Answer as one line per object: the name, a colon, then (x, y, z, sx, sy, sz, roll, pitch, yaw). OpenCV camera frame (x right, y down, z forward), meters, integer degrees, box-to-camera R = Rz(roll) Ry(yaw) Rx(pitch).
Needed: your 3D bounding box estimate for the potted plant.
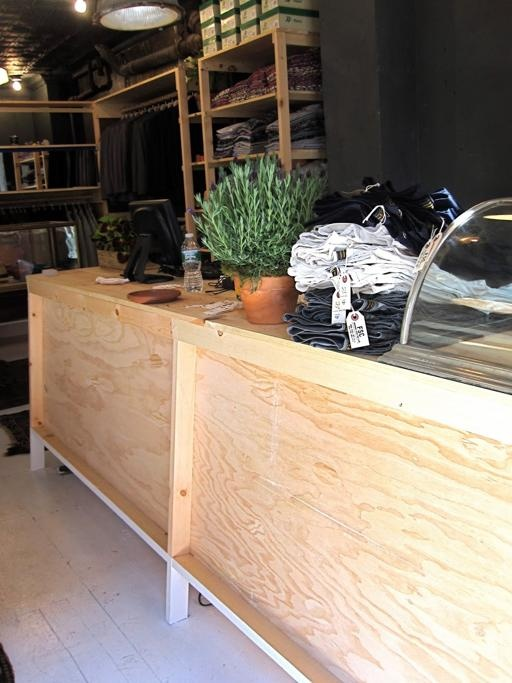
potted plant: (0.024, -0.247, 1.359, 0.281, 0.372, 0.292, -2, 11, 9)

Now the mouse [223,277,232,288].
mouse: (-0.120, -0.244, 2.096, 0.045, 0.038, 0.011, 10, 15, 43)
